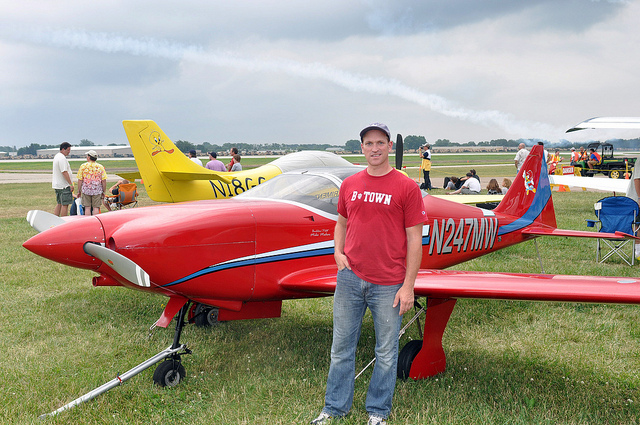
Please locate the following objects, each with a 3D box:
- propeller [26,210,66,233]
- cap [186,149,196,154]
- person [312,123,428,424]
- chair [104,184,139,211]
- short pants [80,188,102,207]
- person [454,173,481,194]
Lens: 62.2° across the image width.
[{"bbox_3d":[-3.691,0.117,7.154,0.540,0.112,0.173,2,40,38],"label":"propeller"},{"bbox_3d":[-4.085,-1.965,16.971,0.131,0.089,0.175,-12,-2,-40],"label":"cap"},{"bbox_3d":[0.484,0.597,4.942,0.973,2.790,0.529,1,11,11],"label":"person"},{"bbox_3d":[-5.115,-0.323,14.091,0.675,0.763,0.683,-3,-5,-36],"label":"chair"},{"bbox_3d":[-4.825,-0.311,11.285,0.453,0.415,0.253,3,9,-7],"label":"short pants"},{"bbox_3d":[4.248,-0.834,15.314,0.819,0.668,0.543,8,6,22],"label":"person"}]
